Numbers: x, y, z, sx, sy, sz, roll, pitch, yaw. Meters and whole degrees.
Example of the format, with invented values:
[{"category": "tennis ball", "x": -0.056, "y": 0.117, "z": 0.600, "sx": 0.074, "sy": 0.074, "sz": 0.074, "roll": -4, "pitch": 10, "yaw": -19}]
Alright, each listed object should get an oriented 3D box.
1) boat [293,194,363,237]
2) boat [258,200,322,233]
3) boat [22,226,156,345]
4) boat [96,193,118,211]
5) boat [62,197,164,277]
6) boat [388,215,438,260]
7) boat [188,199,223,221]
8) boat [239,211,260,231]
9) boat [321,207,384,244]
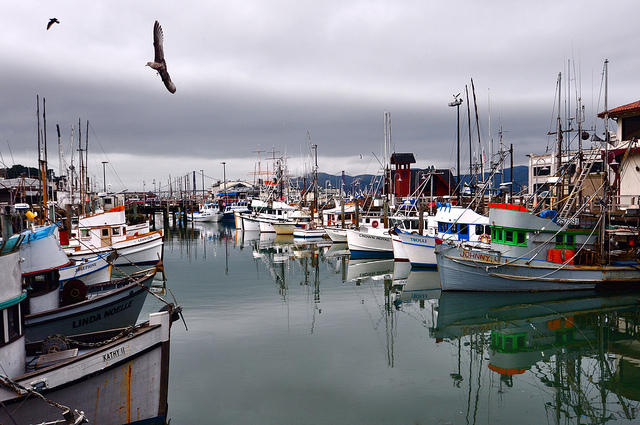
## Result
[{"category": "boat", "x": 0.893, "y": 0.330, "z": 73.576, "sx": 2.396, "sy": 2.706, "sz": 7.559, "roll": 18, "pitch": 19, "yaw": 41}, {"category": "boat", "x": -3.656, "y": 0.348, "z": 80.917, "sx": 2.471, "sy": 3.035, "sz": 8.102, "roll": 4, "pitch": 4, "yaw": 33}, {"category": "boat", "x": -12.465, "y": 2.994, "z": 35.737, "sx": 9.604, "sy": 3.976, "sz": 4.104, "roll": -2, "pitch": 10, "yaw": -12}, {"category": "boat", "x": -18.966, "y": -0.969, "z": 70.634, "sx": 1.928, "sy": 1.360, "sz": 1.048, "roll": 0, "pitch": -1, "yaw": -34}, {"category": "boat", "x": -12.811, "y": 1.875, "z": 50.402, "sx": 8.656, "sy": 3.778, "sz": 3.785, "roll": -3, "pitch": 5, "yaw": -26}, {"category": "boat", "x": 6.236, "y": 1.833, "z": 53.275, "sx": 1.511, "sy": 2.095, "sz": 5.917, "roll": -3, "pitch": -5, "yaw": 27}, {"category": "boat", "x": -17.234, "y": -0.152, "z": 114.982, "sx": 2.817, "sy": 2.859, "sz": 9.020, "roll": -2, "pitch": -2, "yaw": -26}, {"category": "boat", "x": -7.493, "y": 1.142, "z": 84.000, "sx": 1.915, "sy": 1.756, "sz": 4.403, "roll": 0, "pitch": 5, "yaw": -8}, {"category": "boat", "x": 3.288, "y": 0.945, "z": 66.302, "sx": 8.475, "sy": 2.669, "sz": 2.549, "roll": -2, "pitch": 5, "yaw": 15}]
